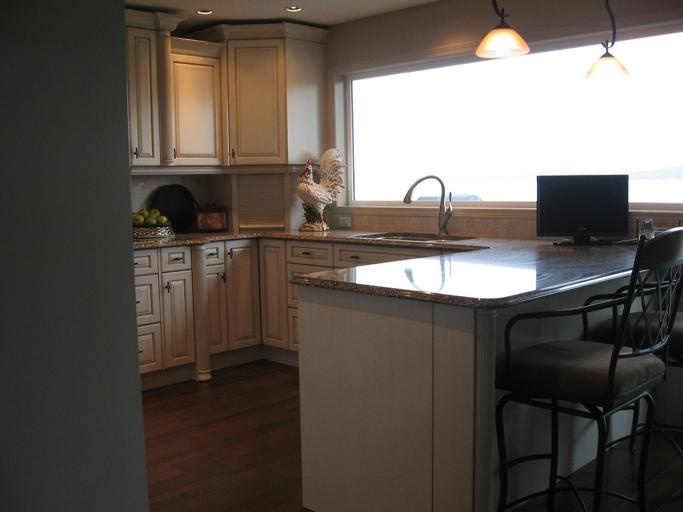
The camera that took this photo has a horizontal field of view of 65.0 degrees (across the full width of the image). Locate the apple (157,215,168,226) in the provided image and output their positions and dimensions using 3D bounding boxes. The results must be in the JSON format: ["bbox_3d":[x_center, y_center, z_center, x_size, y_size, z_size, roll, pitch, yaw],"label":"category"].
[{"bbox_3d":[-1.347,-0.266,4.053,0.077,0.078,0.091,14,-2,-11],"label":"apple"}]

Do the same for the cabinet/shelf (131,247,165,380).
[{"bbox_3d":[-1.327,0.386,3.651,0.076,0.862,0.212,1,6,27],"label":"cabinet/shelf"}]

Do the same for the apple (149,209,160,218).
[{"bbox_3d":[-1.423,-0.316,4.096,0.065,0.065,0.063,33,-22,-37],"label":"apple"}]

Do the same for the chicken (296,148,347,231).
[{"bbox_3d":[-0.191,-0.565,4.571,0.509,0.688,0.422,-5,6,-31],"label":"chicken"}]

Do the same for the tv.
[{"bbox_3d":[1.462,-0.276,3.199,0.415,0.341,0.123,1,4,23],"label":"tv"}]

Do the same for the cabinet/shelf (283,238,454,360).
[{"bbox_3d":[0.268,0.376,3.981,1.432,1.001,0.495,5,6,35],"label":"cabinet/shelf"}]

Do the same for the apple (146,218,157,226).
[{"bbox_3d":[-1.411,-0.252,3.981,0.061,0.061,0.061,5,9,-3],"label":"apple"}]
